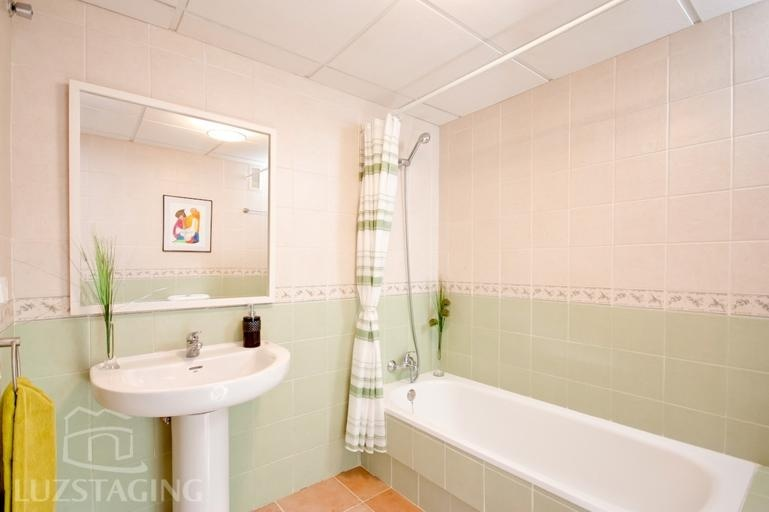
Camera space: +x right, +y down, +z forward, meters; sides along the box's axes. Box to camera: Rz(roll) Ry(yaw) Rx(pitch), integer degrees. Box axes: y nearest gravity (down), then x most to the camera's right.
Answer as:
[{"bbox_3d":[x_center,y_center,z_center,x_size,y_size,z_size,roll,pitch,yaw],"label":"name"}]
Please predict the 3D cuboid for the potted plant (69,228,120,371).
[{"bbox_3d":[-1.615,0.258,2.860,0.187,0.748,0.150,0,0,-34],"label":"potted plant"}]

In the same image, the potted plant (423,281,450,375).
[{"bbox_3d":[0.454,0.577,4.165,0.190,0.713,0.123,0,0,8],"label":"potted plant"}]

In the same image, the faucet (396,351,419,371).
[{"bbox_3d":[0.185,0.830,3.974,0.165,0.153,0.152,0,0,-1],"label":"faucet"}]

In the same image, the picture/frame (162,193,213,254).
[{"bbox_3d":[-1.224,-0.199,3.114,0.372,0.486,0.018,2,1,-36],"label":"picture/frame"}]
